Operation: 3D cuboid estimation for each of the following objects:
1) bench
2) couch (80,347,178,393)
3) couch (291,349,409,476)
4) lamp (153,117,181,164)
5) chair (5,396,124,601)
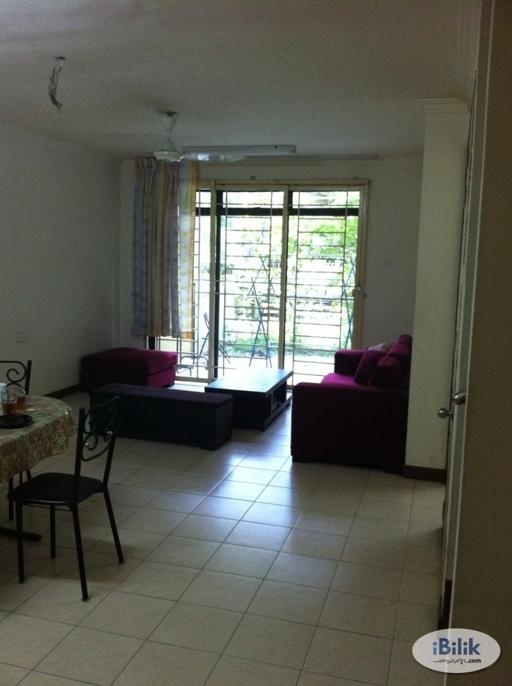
[{"bbox_3d":[-0.831,0.602,4.890,1.095,0.398,0.356,4,9,9],"label":"bench"},{"bbox_3d":[-1.526,0.295,6.865,1.014,0.482,1.071,9,7,21],"label":"couch"},{"bbox_3d":[0.885,0.387,4.822,0.852,0.714,1.507,1,10,23],"label":"couch"},{"bbox_3d":[-0.745,-1.728,4.977,0.274,0.379,0.250,6,14,11],"label":"lamp"},{"bbox_3d":[-0.861,0.676,2.693,0.507,0.775,0.483,0,3,-17],"label":"chair"}]
